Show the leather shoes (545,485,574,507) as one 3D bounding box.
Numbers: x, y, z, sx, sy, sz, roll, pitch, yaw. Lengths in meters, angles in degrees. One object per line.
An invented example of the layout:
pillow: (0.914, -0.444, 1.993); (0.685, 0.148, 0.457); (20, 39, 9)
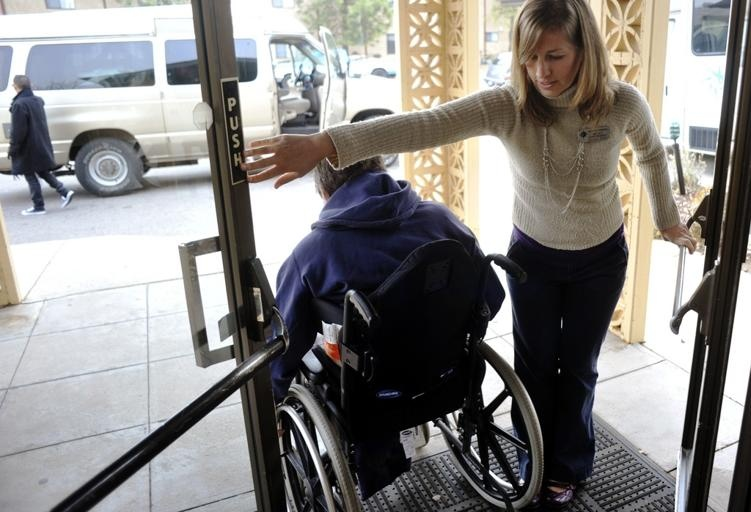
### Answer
leather shoes: (0.792, 1.028, 2.276); (0.116, 0.041, 0.064); (-4, 36, -14)
